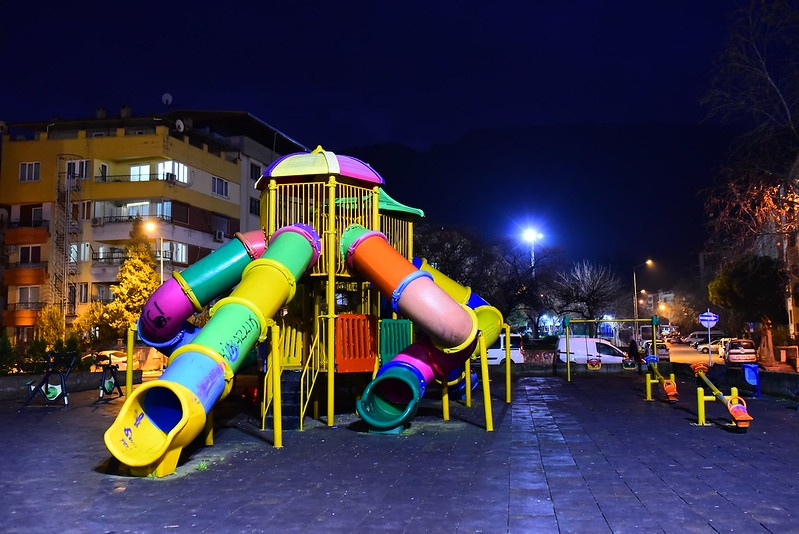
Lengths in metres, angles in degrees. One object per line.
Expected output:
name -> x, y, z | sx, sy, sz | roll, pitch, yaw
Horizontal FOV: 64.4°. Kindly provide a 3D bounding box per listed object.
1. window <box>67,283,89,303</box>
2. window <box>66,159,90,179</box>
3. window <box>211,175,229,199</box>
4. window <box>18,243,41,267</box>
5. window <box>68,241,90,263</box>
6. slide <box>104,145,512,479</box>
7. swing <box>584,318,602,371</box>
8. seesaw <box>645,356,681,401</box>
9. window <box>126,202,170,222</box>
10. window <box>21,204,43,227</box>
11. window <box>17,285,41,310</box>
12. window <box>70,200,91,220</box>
window -> -25.276, 2.123, 50.060 | 1.437, 1.658, 0.210 | 0, -6, 6
window -> -25.477, -7.776, 50.605 | 1.396, 1.828, 0.144 | -4, -2, 14
window -> -15.548, -6.858, 54.599 | 0.135, 1.333, 2.082 | -5, -6, 19
window -> -30.087, -0.909, 51.875 | 1.642, 1.725, 0.220 | 3, 3, 15
window -> -25.451, -1.163, 50.682 | 1.442, 1.665, 1.491 | 3, -3, -21
slide -> -2.200, 0.633, 16.062 | 6.405, 5.288, 9.238 | -3, -7, 25
swing -> 13.265, 5.327, 43.888 | 0.580, 1.341, 5.345 | -11, 17, 19
seesaw -> 9.095, 3.918, 22.532 | 0.900, 1.565, 3.166 | 0, -2, 7
window -> -19.225, -4.219, 49.065 | 2.096, 1.551, 1.208 | -3, -6, 22
window -> -29.841, -4.130, 51.762 | 1.589, 1.721, 2.992 | 2, 3, -18
window -> -29.678, 2.516, 51.117 | 1.664, 1.832, 0.063 | -5, -4, 23
window -> -25.229, -4.520, 50.378 | 1.504, 1.659, 0.126 | 0, 4, -8
